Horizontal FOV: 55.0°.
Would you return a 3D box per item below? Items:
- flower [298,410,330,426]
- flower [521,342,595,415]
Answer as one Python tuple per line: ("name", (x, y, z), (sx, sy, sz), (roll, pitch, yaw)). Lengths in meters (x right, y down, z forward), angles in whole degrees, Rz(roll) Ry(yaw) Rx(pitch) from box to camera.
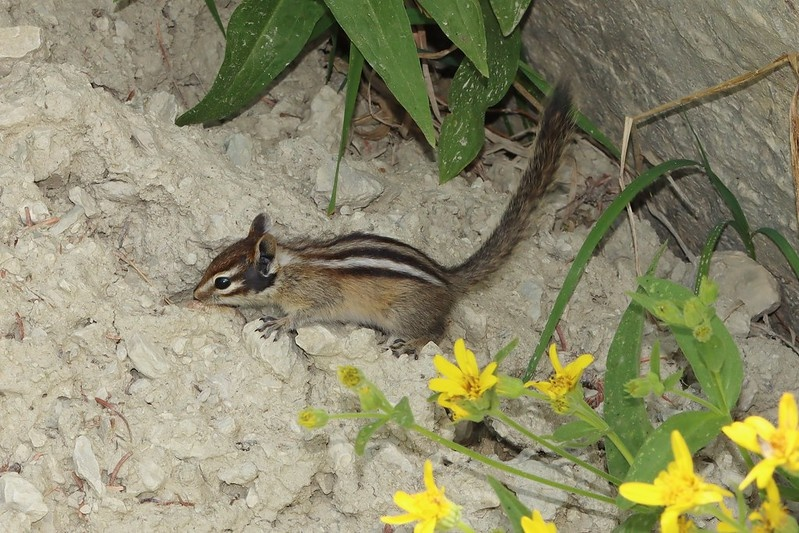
("flower", (-0.418, 0.752, 3.762), (0.135, 0.079, 0.078), (2, -14, -18))
("flower", (0.852, 0.640, 4.098), (0.176, 0.376, 0.395), (32, 41, -27))
